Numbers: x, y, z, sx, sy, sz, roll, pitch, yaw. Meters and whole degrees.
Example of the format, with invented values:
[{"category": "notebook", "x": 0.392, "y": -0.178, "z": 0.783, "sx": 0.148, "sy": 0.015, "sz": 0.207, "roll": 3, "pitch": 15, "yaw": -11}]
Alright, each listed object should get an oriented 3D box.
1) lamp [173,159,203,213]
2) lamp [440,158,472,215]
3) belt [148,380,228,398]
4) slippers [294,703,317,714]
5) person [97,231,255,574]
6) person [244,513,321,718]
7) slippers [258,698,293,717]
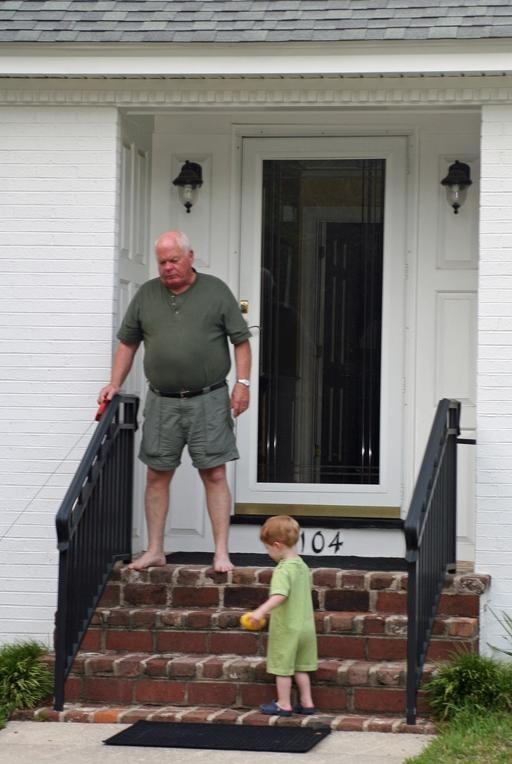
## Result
[{"category": "lamp", "x": -0.373, "y": -1.080, "z": 6.514, "sx": 0.161, "sy": 0.288, "sz": 0.159, "roll": 2, "pitch": 7, "yaw": -4}, {"category": "lamp", "x": 1.077, "y": -1.056, "z": 6.369, "sx": 0.166, "sy": 0.269, "sz": 0.157, "roll": 3, "pitch": 4, "yaw": 13}, {"category": "belt", "x": -0.313, "y": 0.031, "z": 5.509, "sx": 0.347, "sy": 0.084, "sz": 0.123, "roll": 2, "pitch": 7, "yaw": -7}, {"category": "slippers", "x": 0.199, "y": 1.298, "z": 4.688, "sx": 0.031, "sy": 0.032, "sz": 0.079, "roll": 2, "pitch": -2, "yaw": -18}, {"category": "person", "x": -0.374, "y": 0.088, "z": 5.507, "sx": 0.679, "sy": 1.567, "sz": 0.440, "roll": 3, "pitch": 7, "yaw": 0}, {"category": "person", "x": 0.122, "y": 0.935, "z": 4.638, "sx": 0.245, "sy": 0.757, "sz": 0.366, "roll": 3, "pitch": 7, "yaw": 1}, {"category": "slippers", "x": 0.077, "y": 1.282, "z": 4.669, "sx": 0.128, "sy": 0.059, "sz": 0.049, "roll": 3, "pitch": -14, "yaw": 10}]
